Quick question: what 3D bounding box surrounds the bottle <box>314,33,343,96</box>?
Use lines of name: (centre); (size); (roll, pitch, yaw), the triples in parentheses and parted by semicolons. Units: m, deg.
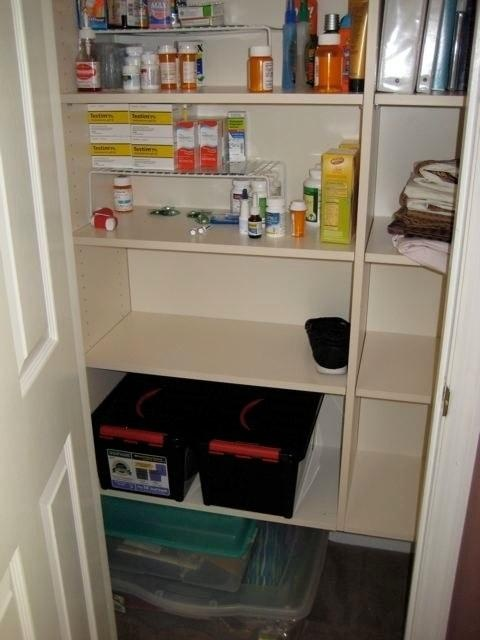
bottle: (0.202, -0.583, 1.110); (0.065, 0.123, 0.100); (3, 22, 8)

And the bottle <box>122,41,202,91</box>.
bottle: (-0.202, -0.650, 1.267); (0.200, 0.110, 0.148); (5, 23, 11)

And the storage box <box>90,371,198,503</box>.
storage box: (-0.286, 0.367, 1.572); (0.257, 0.239, 0.355); (3, 18, 9)

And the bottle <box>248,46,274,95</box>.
bottle: (0.047, -0.594, 1.154); (0.053, 0.103, 0.079); (0, 22, -2)

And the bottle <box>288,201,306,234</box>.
bottle: (0.157, -0.280, 1.325); (0.039, 0.093, 0.097); (4, 22, 9)

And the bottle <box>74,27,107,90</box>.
bottle: (-0.406, -0.683, 1.285); (0.070, 0.152, 0.129); (-5, 23, -14)

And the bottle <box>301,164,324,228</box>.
bottle: (0.204, -0.330, 1.321); (0.041, 0.154, 0.084); (-8, 23, -20)
